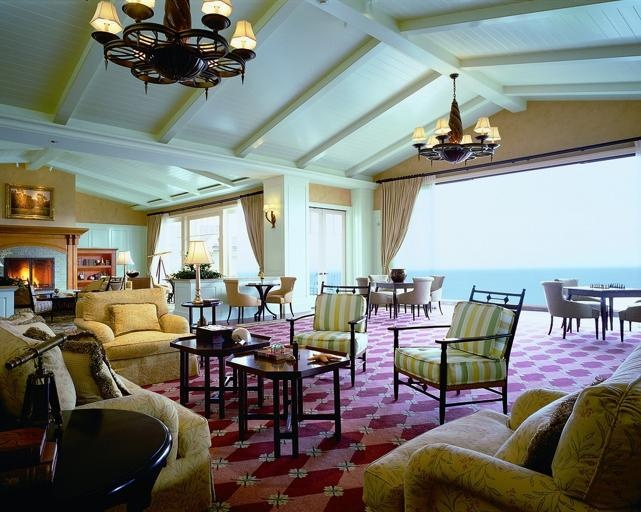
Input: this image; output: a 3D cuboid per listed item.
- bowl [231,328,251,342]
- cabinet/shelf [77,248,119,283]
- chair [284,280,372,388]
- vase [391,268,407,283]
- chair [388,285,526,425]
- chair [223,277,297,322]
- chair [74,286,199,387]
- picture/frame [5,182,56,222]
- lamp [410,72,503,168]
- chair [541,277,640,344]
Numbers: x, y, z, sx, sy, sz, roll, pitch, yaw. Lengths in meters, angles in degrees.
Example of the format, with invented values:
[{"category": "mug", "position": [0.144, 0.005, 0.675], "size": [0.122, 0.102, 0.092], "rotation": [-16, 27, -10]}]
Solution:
[{"category": "bowl", "position": [-0.679, 0.686, 3.870], "size": [0.146, 0.101, 0.102], "rotation": [-21, 0, 14]}, {"category": "cabinet/shelf", "position": [-6.427, 0.248, 12.749], "size": [0.347, 0.981, 1.156], "rotation": [-3, -3, 38]}, {"category": "chair", "position": [0.118, 0.739, 4.459], "size": [0.849, 0.742, 0.784], "rotation": [-3, 4, -36]}, {"category": "vase", "position": [1.385, 0.338, 7.997], "size": [0.268, 0.246, 0.265], "rotation": [1, -1, 8]}, {"category": "chair", "position": [1.082, 0.757, 3.656], "size": [1.048, 0.809, 0.956], "rotation": [-2, 1, 30]}, {"category": "chair", "position": [-1.283, 0.755, 8.372], "size": [1.528, 0.786, 0.653], "rotation": [-1, 1, -25]}, {"category": "chair", "position": [-1.903, 0.830, 4.738], "size": [1.151, 0.865, 1.108], "rotation": [1, -3, -41]}, {"category": "picture/frame", "position": [-6.857, -1.283, 10.469], "size": [1.182, 1.008, 0.151], "rotation": [1, -2, -35]}, {"category": "lamp", "position": [1.762, -1.833, 5.896], "size": [1.218, 1.160, 1.013], "rotation": [0, 4, 6]}, {"category": "chair", "position": [3.807, 0.724, 6.308], "size": [1.366, 0.760, 0.872], "rotation": [-1, 1, -15]}]
